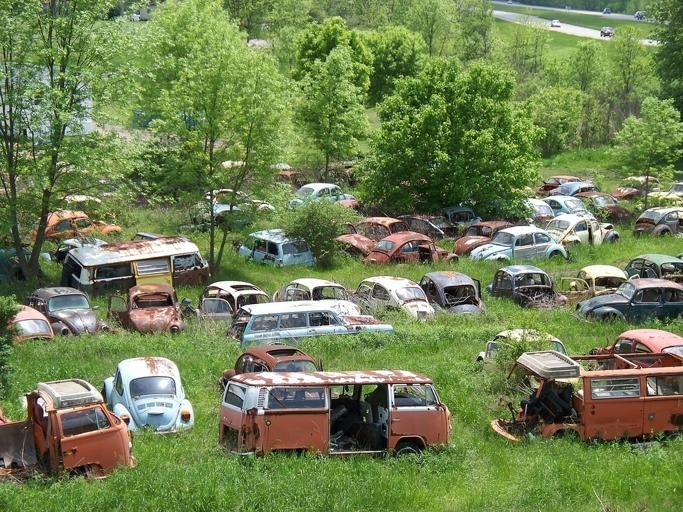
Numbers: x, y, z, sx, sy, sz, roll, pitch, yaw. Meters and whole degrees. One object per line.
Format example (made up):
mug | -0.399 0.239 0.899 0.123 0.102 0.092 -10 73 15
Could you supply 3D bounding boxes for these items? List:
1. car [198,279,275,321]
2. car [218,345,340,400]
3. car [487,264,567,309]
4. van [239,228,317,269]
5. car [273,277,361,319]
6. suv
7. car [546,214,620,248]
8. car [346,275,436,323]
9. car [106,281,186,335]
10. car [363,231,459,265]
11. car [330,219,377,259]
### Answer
car | -6.212 2.295 70.914 3.181 1.897 2.191 9 14 16
car | -3.375 5.313 63.631 3.279 2.223 3.068 -5 6 -31
car | 9.765 1.842 73.951 2.777 2.609 5.060 0 3 -22
van | -3.991 -0.424 80.093 2.857 2.202 4.606 -12 19 -41
car | -2.035 2.428 71.678 2.899 1.526 1.811 -3 -3 -3
suv | -1.899 3.210 67.823 6.688 1.815 1.328 -3 10 -15
car | 14.692 -1.430 82.479 4.099 1.772 2.051 -6 5 -10
car | 2.512 2.426 73.118 2.691 2.813 5.307 -1 7 -40
car | -9.722 2.593 69.395 3.608 2.176 2.352 -2 10 -8
car | 4.215 -0.295 79.443 5.514 2.099 2.919 -2 5 -30
car | 0.698 -0.901 80.175 2.001 2.247 1.911 -8 9 -21
